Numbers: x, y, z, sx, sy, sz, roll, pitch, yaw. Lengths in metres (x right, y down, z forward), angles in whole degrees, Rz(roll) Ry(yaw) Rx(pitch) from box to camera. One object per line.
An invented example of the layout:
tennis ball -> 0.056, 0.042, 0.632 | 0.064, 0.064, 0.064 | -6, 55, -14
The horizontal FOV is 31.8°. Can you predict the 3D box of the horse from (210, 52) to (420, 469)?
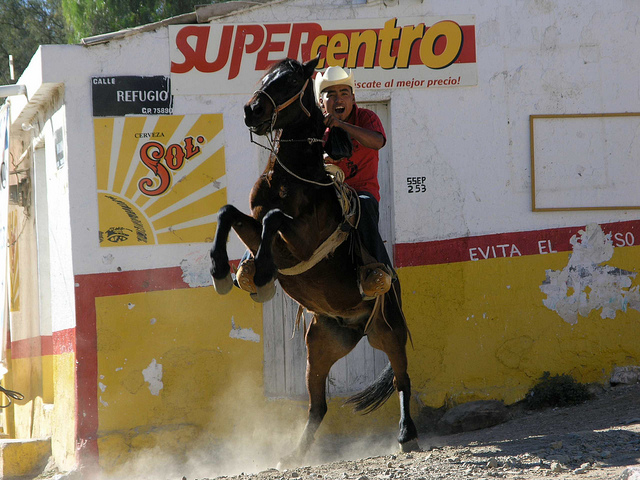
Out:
horse -> -0.113, 0.269, 14.190 | 1.516, 5.313, 3.365 | -5, 45, 21
